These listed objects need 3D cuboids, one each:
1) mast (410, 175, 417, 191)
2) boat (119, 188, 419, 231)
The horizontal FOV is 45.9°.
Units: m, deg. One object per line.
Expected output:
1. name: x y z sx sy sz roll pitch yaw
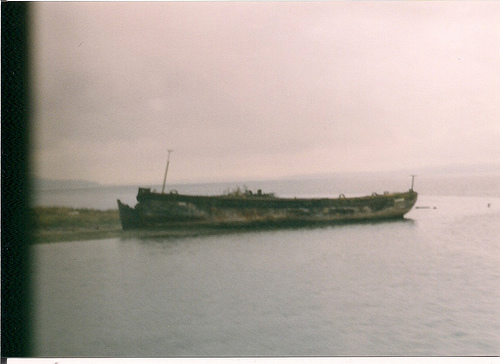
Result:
1. mast: 3.149 -0.003 11.418 0.127 0.255 0.300 2 -2 15
2. boat: 0.130 0.537 11.656 3.665 0.553 0.731 -1 -4 -6
